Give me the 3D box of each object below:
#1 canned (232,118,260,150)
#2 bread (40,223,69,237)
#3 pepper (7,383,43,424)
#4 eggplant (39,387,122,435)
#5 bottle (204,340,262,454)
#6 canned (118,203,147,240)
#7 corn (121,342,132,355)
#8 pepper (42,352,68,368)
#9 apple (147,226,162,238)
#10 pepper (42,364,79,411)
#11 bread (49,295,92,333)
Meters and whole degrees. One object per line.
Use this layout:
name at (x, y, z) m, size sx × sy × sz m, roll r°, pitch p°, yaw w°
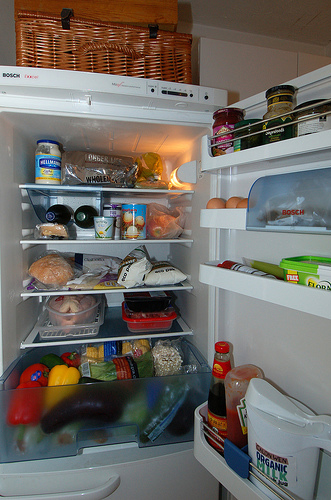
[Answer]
canned at (0.178, -0.251, 0.863) m, size 0.081 × 0.080 × 0.086 m, roll 0°, pitch 9°, yaw 10°
bread at (-0.398, -0.070, 1.309) m, size 0.073 × 0.036 × 0.051 m, roll 7°, pitch 3°, yaw -12°
pepper at (-0.384, 0.416, 1.006) m, size 0.090 × 0.129 × 0.080 m, roll 7°, pitch 0°, yaw -19°
eggplant at (-0.244, 0.447, 1.086) m, size 0.214 × 0.112 × 0.091 m, roll -16°, pitch -23°, yaw -15°
bottle at (0.168, 0.358, 0.985) m, size 0.157 × 0.248 × 0.233 m, roll -5°, pitch 10°, yaw -11°
canned at (-0.119, -0.105, 1.327) m, size 0.111 × 0.126 × 0.117 m, roll 0°, pitch 2°, yaw -2°
corn at (-0.143, 0.347, 1.333) m, size 0.035 × 0.060 × 0.033 m, roll 1°, pitch -21°, yaw -8°
pepper at (-0.388, 0.371, 1.323) m, size 0.054 × 0.049 × 0.078 m, roll -25°, pitch -13°, yaw 13°
apple at (-0.045, -0.073, 1.451) m, size 0.045 × 0.044 × 0.043 m, roll 8°, pitch 10°, yaw 7°
pepper at (-0.320, 0.429, 1.193) m, size 0.093 × 0.131 × 0.083 m, roll 18°, pitch -8°, yaw 28°
bread at (-0.343, 0.217, 1.337) m, size 0.114 × 0.055 × 0.132 m, roll -1°, pitch 5°, yaw -8°
